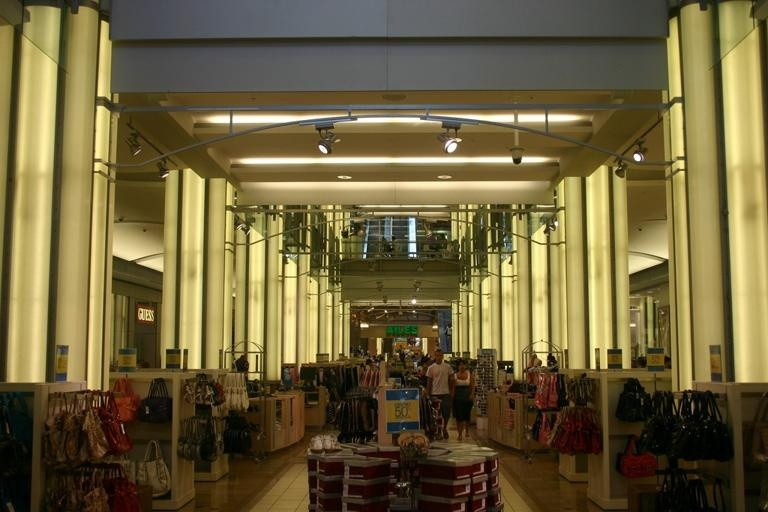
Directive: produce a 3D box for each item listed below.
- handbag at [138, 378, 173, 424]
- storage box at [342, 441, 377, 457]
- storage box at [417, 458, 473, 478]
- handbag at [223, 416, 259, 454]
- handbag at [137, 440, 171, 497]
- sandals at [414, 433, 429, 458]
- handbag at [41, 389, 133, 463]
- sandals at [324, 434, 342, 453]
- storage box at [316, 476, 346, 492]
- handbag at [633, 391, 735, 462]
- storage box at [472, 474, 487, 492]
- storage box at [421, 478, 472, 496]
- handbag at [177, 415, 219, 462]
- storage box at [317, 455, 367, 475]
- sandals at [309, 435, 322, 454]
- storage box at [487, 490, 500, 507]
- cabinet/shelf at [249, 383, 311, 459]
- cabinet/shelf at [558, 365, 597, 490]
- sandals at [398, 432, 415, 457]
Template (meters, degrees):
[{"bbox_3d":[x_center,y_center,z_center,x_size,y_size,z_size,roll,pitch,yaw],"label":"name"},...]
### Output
[{"bbox_3d":[-3.302,2.103,9.891,0.553,0.719,0.402,0,-22,1],"label":"handbag"},{"bbox_3d":[-0.294,2.049,7.326,0.293,0.104,0.595,3,-10,-18],"label":"storage box"},{"bbox_3d":[0.617,2.155,6.969,0.525,0.195,0.206,-1,-9,5],"label":"storage box"},{"bbox_3d":[-2.665,3.242,12.569,0.737,0.824,0.720,0,-6,-2],"label":"handbag"},{"bbox_3d":[-3.271,3.017,9.688,0.464,0.798,0.472,3,-10,-16],"label":"handbag"},{"bbox_3d":[0.359,1.951,7.106,0.157,0.171,0.191,4,17,-2],"label":"sandals"},{"bbox_3d":[-3.144,1.805,7.234,0.842,0.757,0.406,3,-10,-18],"label":"handbag"},{"bbox_3d":[-0.583,2.081,7.635,0.182,0.174,0.142,2,-17,-8],"label":"sandals"},{"bbox_3d":[-0.567,2.359,7.209,0.206,0.121,0.202,6,-12,-26],"label":"storage box"},{"bbox_3d":[3.222,1.813,7.366,0.566,0.745,0.874,1,-9,-4],"label":"handbag"},{"bbox_3d":[0.971,2.342,7.098,0.119,0.145,0.210,-11,-15,44],"label":"storage box"},{"bbox_3d":[0.612,2.343,6.963,0.496,0.172,0.187,-2,-9,9],"label":"storage box"},{"bbox_3d":[-2.730,2.698,10.187,0.646,0.606,0.635,2,-6,1],"label":"handbag"},{"bbox_3d":[-0.552,2.175,7.180,0.260,0.122,0.348,3,-10,-16],"label":"storage box"},{"bbox_3d":[-0.762,2.094,7.654,0.130,0.170,0.053,-2,-18,10],"label":"sandals"},{"bbox_3d":[1.157,2.579,7.308,0.116,0.132,0.201,-3,-9,20],"label":"storage box"},{"bbox_3d":[-2.228,3.418,14.148,0.460,1.118,2.080,-2,-10,13],"label":"cabinet/shelf"},{"bbox_3d":[2.960,2.654,10.474,0.690,1.647,1.784,1,-8,8],"label":"cabinet/shelf"},{"bbox_3d":[0.222,1.933,7.084,0.154,0.196,0.049,-1,-13,17],"label":"sandals"}]
